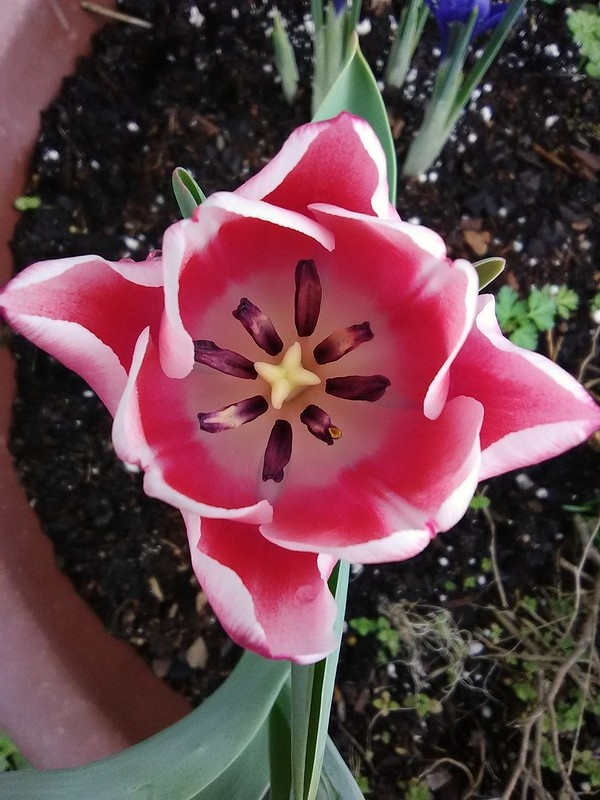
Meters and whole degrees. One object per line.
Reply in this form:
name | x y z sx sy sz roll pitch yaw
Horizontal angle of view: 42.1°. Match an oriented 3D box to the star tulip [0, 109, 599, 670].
star tulip | 0.006 -0.002 0.750 0.380 0.237 0.424 -33 87 -3
